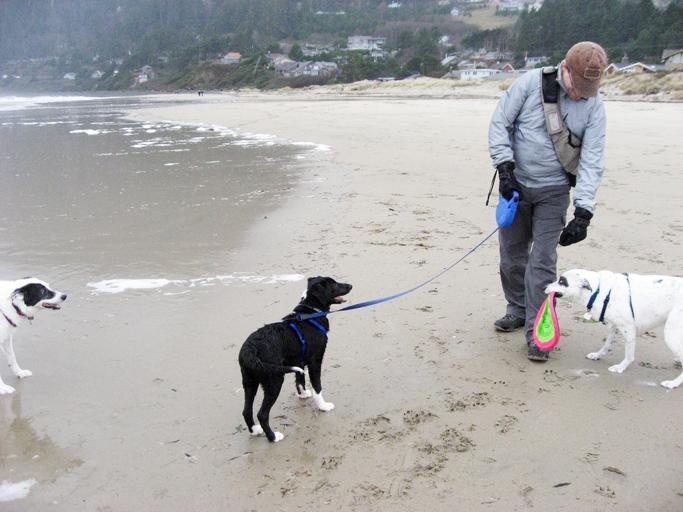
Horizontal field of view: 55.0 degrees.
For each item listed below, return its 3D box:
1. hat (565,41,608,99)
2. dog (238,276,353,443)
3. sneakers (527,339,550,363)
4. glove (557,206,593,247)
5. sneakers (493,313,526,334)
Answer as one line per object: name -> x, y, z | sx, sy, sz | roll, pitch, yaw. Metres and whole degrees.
hat -> 2.335, -1.803, 6.209 | 0.395, 0.536, 0.329 | -1, -9, -3
dog -> -0.417, 0.928, 5.996 | 0.631, 1.216, 1.134 | 6, 21, 23
sneakers -> 1.945, 0.961, 6.543 | 0.227, 0.193, 0.215 | -1, -6, 7
glove -> 2.257, -0.276, 6.307 | 0.328, 0.377, 0.158 | 5, 35, -44
sneakers -> 1.802, 0.740, 7.052 | 0.411, 0.175, 0.147 | -1, 1, -31
